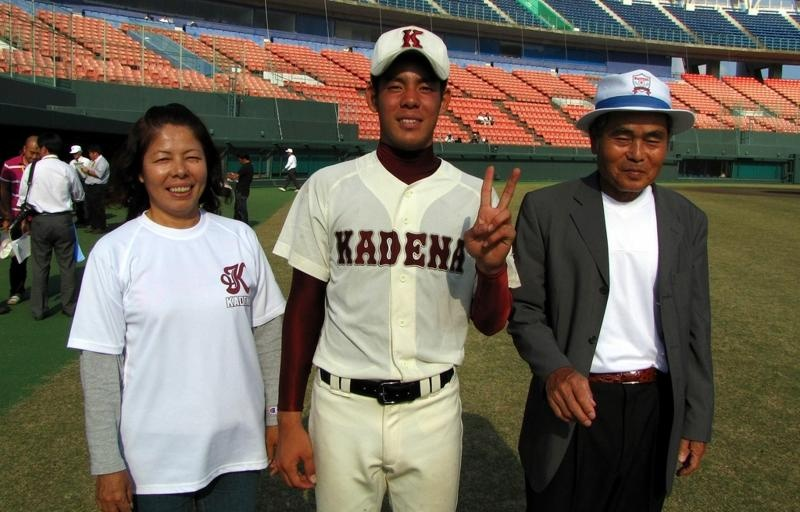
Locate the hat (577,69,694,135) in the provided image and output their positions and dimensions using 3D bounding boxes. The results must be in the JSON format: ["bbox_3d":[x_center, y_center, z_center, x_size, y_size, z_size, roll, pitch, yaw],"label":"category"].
[{"bbox_3d":[1.708,-1.108,4.352,0.548,0.228,0.554,14,-17,-22],"label":"hat"}]

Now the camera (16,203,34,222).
[{"bbox_3d":[-5.186,-0.600,8.437,0.300,0.184,0.125,-30,4,32],"label":"camera"}]
